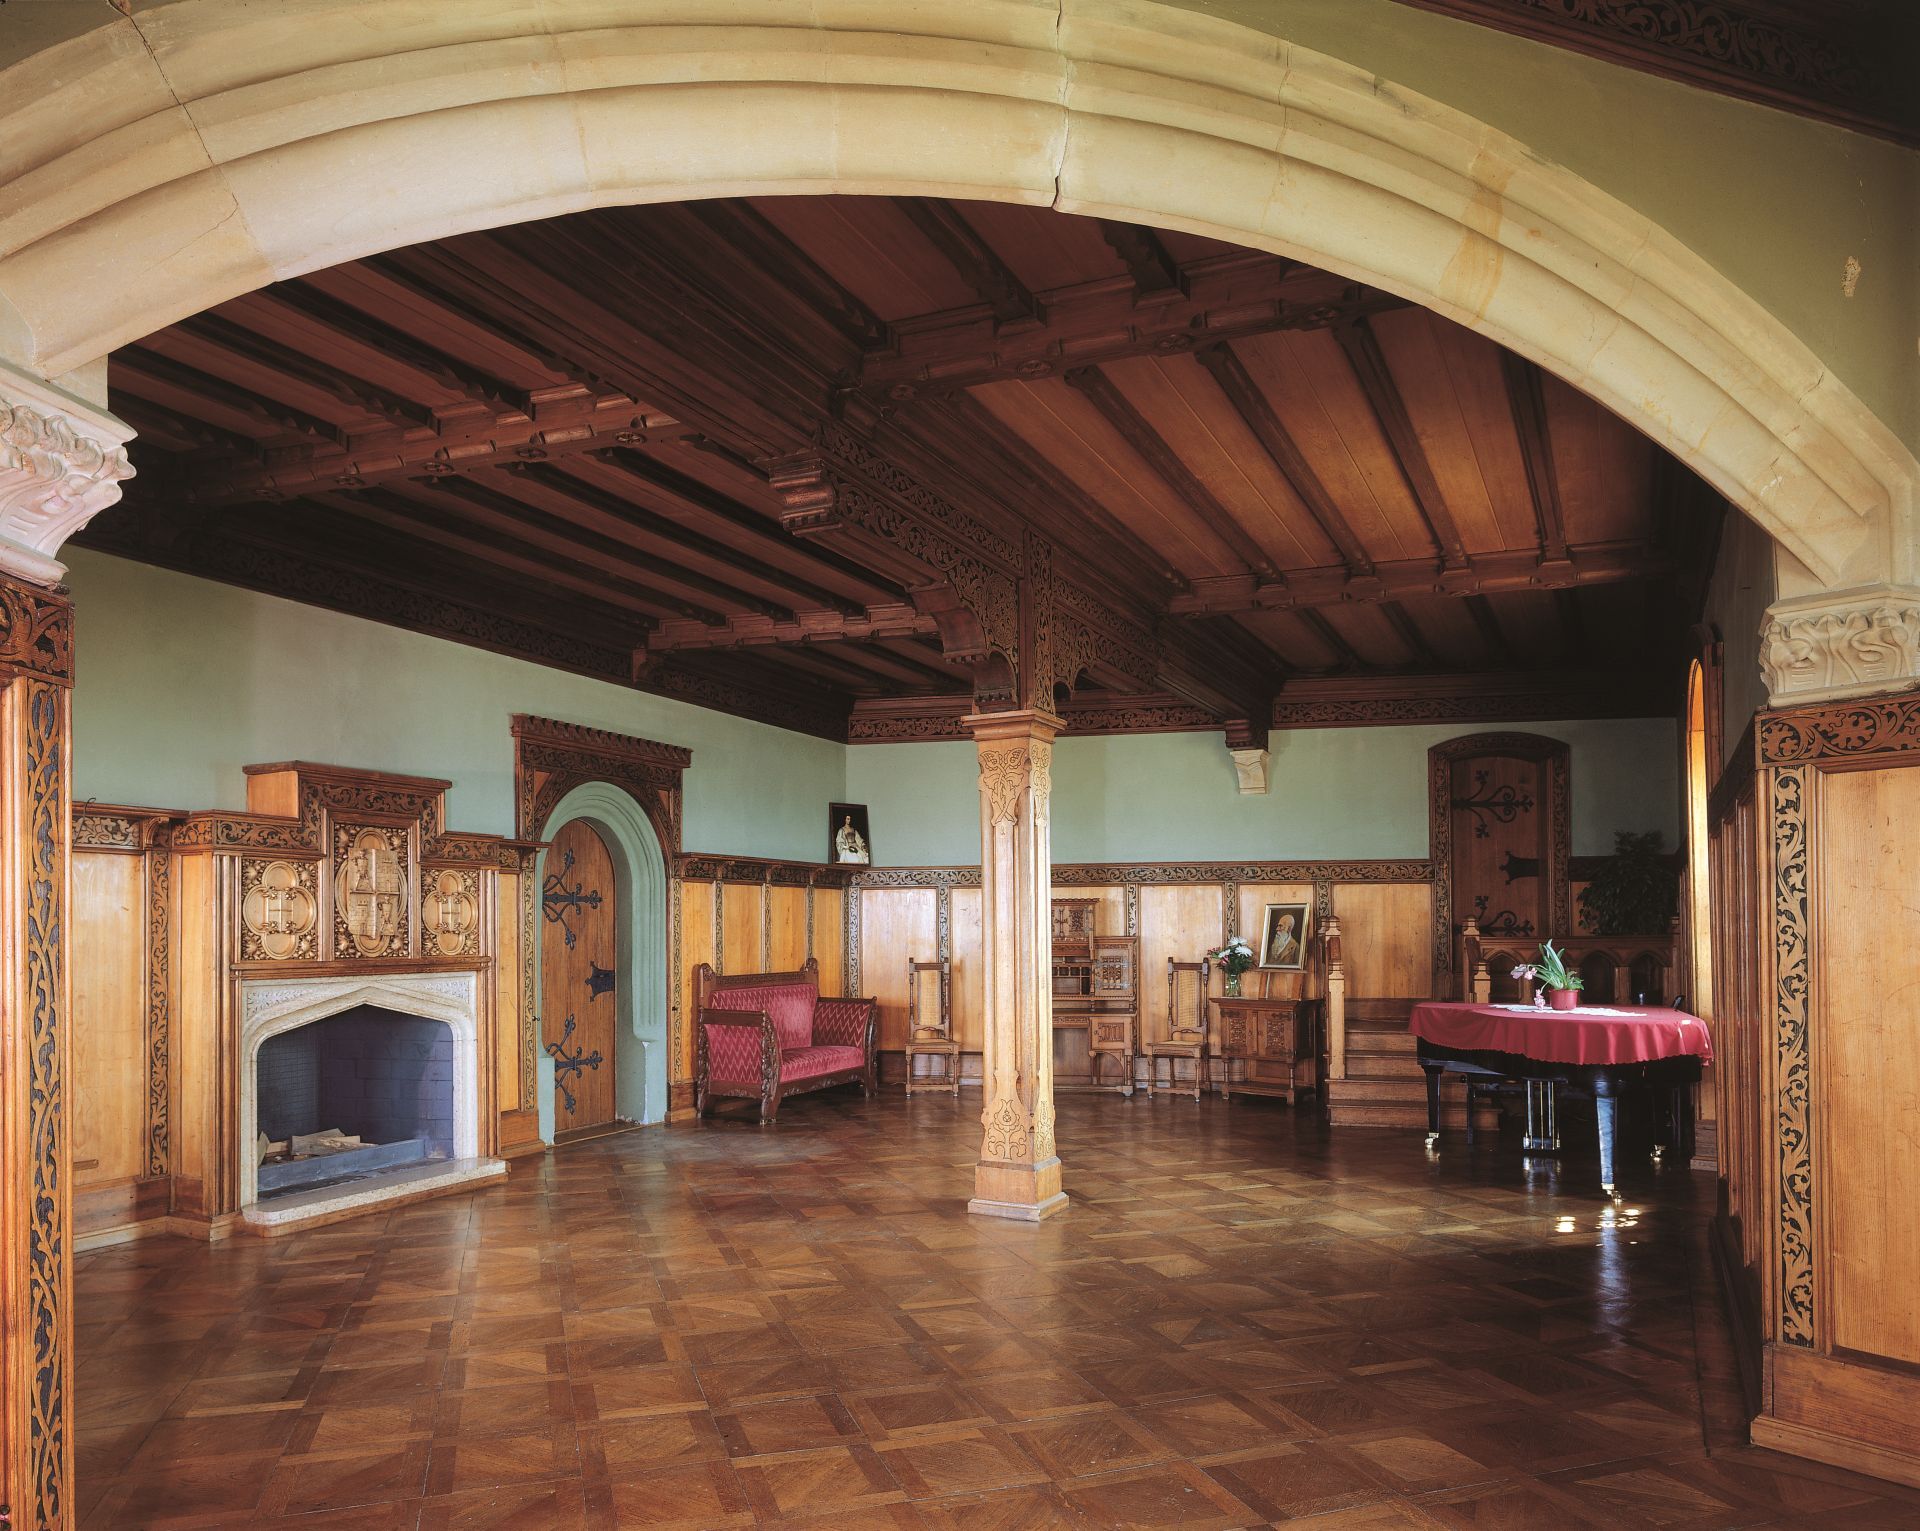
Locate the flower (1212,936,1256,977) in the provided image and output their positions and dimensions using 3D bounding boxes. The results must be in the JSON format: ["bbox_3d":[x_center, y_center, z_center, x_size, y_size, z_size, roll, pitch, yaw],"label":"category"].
[{"bbox_3d":[2.520,1.745,12.723,0.386,0.375,0.554,0,-6,8],"label":"flower"}]

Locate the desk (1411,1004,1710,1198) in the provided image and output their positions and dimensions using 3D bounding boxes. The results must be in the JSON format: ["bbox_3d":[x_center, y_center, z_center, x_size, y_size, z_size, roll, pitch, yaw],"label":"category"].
[{"bbox_3d":[3.745,1.678,8.270,1.227,0.740,1.576,2,-5,-34],"label":"desk"}]

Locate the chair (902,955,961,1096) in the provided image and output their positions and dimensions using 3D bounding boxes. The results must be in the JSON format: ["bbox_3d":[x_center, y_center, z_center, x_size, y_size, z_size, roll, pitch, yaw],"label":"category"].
[{"bbox_3d":[-0.248,2.436,13.134,0.488,1.179,0.687,1,-6,0],"label":"chair"}]

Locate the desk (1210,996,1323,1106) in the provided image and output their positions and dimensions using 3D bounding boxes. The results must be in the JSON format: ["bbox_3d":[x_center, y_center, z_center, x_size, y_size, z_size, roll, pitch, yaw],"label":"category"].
[{"bbox_3d":[2.753,2.519,12.244,0.903,0.830,0.632,-7,-13,42],"label":"desk"}]

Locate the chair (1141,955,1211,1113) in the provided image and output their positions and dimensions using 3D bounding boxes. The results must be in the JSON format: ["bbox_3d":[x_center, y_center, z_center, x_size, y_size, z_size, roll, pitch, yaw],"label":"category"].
[{"bbox_3d":[1.956,2.386,12.712,0.587,1.201,0.679,0,-6,7],"label":"chair"}]

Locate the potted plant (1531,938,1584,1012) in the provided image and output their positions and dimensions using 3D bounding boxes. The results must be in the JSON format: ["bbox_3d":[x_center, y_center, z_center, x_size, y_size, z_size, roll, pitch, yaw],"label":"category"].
[{"bbox_3d":[3.886,1.367,9.055,0.247,0.387,0.908,-2,-7,22],"label":"potted plant"}]

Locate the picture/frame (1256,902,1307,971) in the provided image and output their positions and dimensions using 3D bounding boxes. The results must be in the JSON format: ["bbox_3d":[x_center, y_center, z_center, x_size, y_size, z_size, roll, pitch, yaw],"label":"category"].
[{"bbox_3d":[2.975,1.576,12.707,0.603,0.811,0.086,-4,-24,31],"label":"picture/frame"}]

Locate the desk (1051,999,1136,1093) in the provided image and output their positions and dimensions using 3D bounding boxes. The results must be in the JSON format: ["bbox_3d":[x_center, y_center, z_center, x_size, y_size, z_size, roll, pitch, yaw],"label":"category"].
[{"bbox_3d":[1.273,2.591,12.874,1.133,0.999,0.499,-2,-10,15],"label":"desk"}]
